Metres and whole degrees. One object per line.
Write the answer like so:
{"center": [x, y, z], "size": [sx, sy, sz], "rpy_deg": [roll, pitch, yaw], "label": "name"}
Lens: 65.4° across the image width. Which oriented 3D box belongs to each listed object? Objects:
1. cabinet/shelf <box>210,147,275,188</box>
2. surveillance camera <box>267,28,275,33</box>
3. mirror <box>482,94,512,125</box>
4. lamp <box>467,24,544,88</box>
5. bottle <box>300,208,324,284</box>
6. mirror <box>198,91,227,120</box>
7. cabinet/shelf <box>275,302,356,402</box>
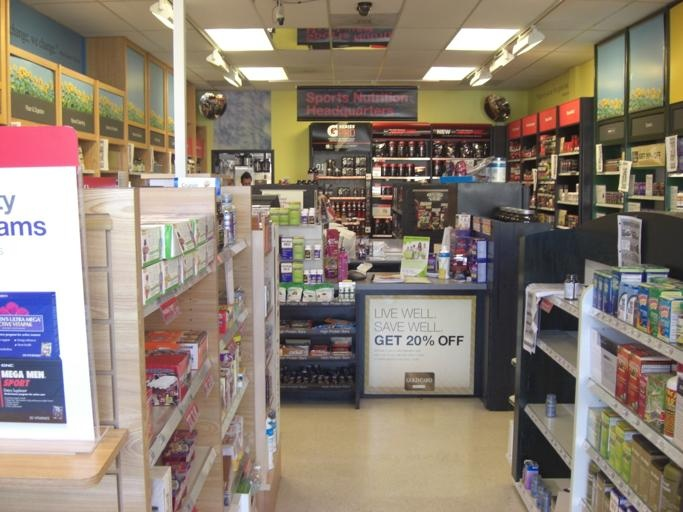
{"center": [-1.981, -1.872, 11.542], "size": [1.456, 1.041, 0.821], "rpy_deg": [-2, -2, 8], "label": "cabinet/shelf"}
{"center": [-0.952, -3.000, 7.050], "size": [0.098, 0.038, 0.097], "rpy_deg": [-7, 0, -8], "label": "surveillance camera"}
{"center": [3.020, -2.903, 10.511], "size": [0.530, 0.566, 0.125], "rpy_deg": [-6, -6, -19], "label": "mirror"}
{"center": [2.334, -2.841, 7.782], "size": [0.832, 0.485, 2.637], "rpy_deg": [0, 6, 13], "label": "lamp"}
{"center": [-0.288, -0.111, 5.335], "size": [0.215, 0.711, 0.445], "rpy_deg": [-2, 6, -4], "label": "bottle"}
{"center": [-2.039, -2.391, 8.764], "size": [0.532, 0.569, 0.132], "rpy_deg": [12, 13, 14], "label": "mirror"}
{"center": [-0.243, 0.941, 5.065], "size": [0.964, 1.001, 0.323], "rpy_deg": [0, -6, 0], "label": "cabinet/shelf"}
